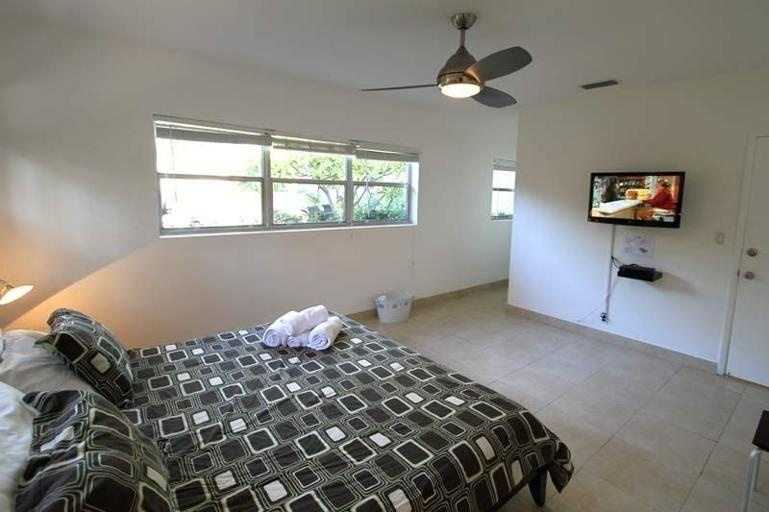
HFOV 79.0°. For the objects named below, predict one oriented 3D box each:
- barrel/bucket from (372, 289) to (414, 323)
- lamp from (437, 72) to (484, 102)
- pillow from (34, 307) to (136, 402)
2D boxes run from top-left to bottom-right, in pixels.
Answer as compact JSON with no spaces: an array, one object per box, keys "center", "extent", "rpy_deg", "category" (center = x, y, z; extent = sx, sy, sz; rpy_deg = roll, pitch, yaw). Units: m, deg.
[{"center":[0.105,0.636,6.034],"extent":[0.452,0.268,0.354],"rpy_deg":[-4,6,-10],"category":"barrel/bucket"},{"center":[0.655,-1.401,3.951],"extent":[0.336,0.156,0.657],"rpy_deg":[3,11,13],"category":"lamp"},{"center":[-2.114,0.710,3.391],"extent":[0.195,0.655,0.614],"rpy_deg":[-35,26,0],"category":"pillow"}]
